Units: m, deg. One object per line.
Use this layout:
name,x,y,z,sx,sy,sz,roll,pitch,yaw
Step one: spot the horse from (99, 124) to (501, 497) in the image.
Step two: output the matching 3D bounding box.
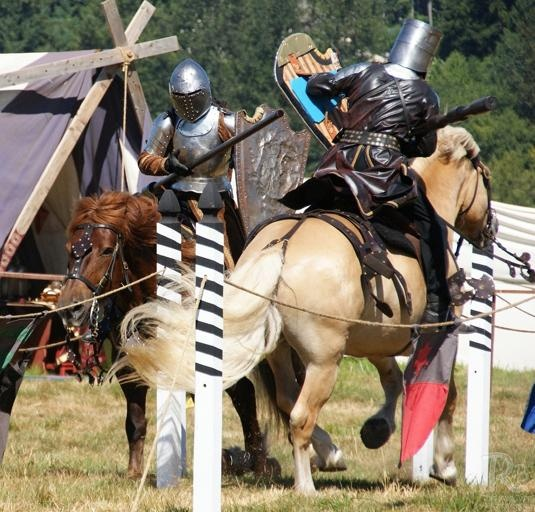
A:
horse,0.656,0.472,11.491,1.118,3.150,4.696,4,7,40

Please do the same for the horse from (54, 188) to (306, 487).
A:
horse,-0.954,0.685,12.560,0.865,2.714,3.315,8,5,25

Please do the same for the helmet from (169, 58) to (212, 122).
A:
helmet,-0.716,-1.569,12.370,0.357,0.493,0.541,-5,26,5
